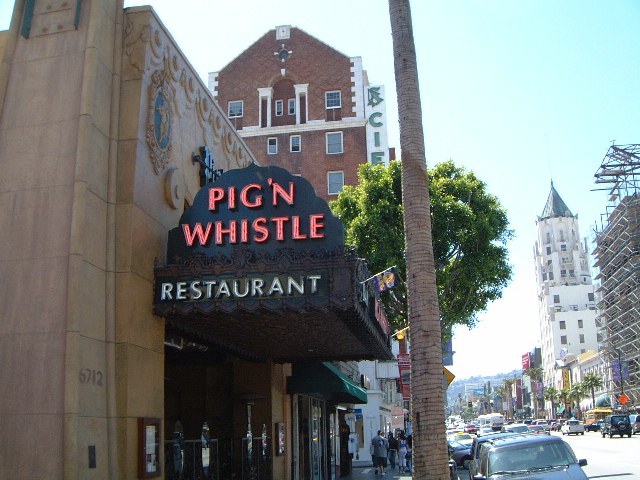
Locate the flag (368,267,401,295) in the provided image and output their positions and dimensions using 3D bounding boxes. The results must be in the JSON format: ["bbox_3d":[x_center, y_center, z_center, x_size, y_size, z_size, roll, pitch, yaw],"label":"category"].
[{"bbox_3d":[1.792,1.100,20.344,0.864,0.692,0.047,-30,-13,15],"label":"flag"}]
